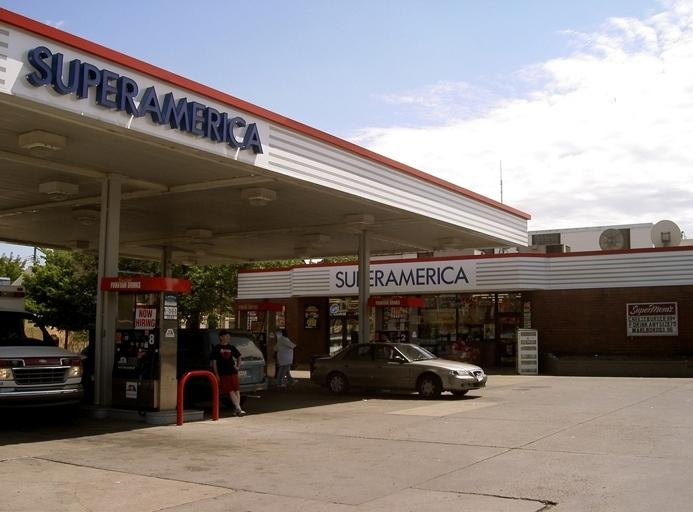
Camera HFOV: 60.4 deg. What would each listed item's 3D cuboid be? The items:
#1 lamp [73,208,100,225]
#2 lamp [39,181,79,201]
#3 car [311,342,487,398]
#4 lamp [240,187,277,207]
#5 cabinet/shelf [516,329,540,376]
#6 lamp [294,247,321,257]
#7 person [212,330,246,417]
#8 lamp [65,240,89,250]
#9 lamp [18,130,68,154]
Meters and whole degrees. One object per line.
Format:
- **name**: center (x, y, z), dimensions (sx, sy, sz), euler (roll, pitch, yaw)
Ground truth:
- **lamp**: center (-8.184, -1.247, 18.674), dimensions (0.643, 0.195, 0.583), euler (0, -5, -13)
- **lamp**: center (-7.528, -1.801, 15.627), dimensions (0.566, 0.250, 0.765), euler (1, -5, -7)
- **car**: center (1.544, 3.560, 19.048), dimensions (5.361, 1.306, 1.981), euler (-6, -11, 28)
- **lamp**: center (-2.426, -1.627, 16.103), dimensions (0.647, 0.278, 0.616), euler (-1, -3, 27)
- **cabinet/shelf**: center (8.223, 4.397, 27.410), dimensions (1.292, 2.005, 1.126), euler (0, -9, 1)
- **lamp**: center (-1.707, -0.171, 25.528), dimensions (0.847, 0.259, 2.165), euler (-2, -9, 4)
- **person**: center (-2.876, 2.848, 14.575), dimensions (0.721, 2.073, 1.044), euler (-1, -10, -4)
- **lamp**: center (-11.416, -0.463, 25.152), dimensions (0.766, 0.206, 0.509), euler (-1, -4, 8)
- **lamp**: center (-6.034, -2.221, 11.655), dimensions (0.551, 0.233, 0.549), euler (-2, -4, 35)
